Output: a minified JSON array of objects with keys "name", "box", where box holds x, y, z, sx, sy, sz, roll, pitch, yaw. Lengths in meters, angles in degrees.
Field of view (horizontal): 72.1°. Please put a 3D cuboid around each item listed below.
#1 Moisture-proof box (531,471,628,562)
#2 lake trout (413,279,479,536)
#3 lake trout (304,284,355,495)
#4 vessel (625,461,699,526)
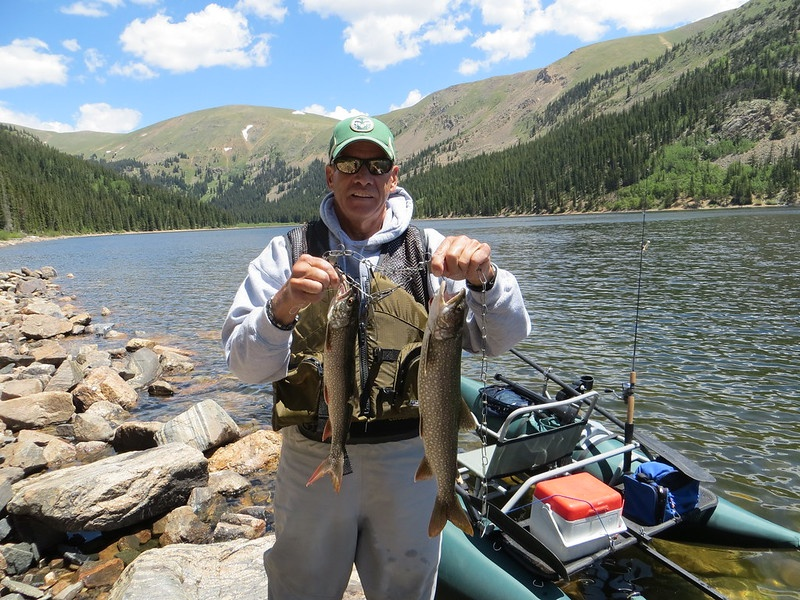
[{"name":"Moisture-proof box","box":[2.163,2.598,6.675,0.996,0.687,0.761,-4,13,-25]},{"name":"lake trout","box":[0.356,0.933,4.844,0.427,2.329,0.755,3,-1,-36]},{"name":"lake trout","box":[-0.621,0.668,4.926,0.557,1.890,0.339,5,-1,-35]},{"name":"vessel","box":[3.536,2.514,7.424,0.936,0.675,0.679,-11,13,-28]}]
